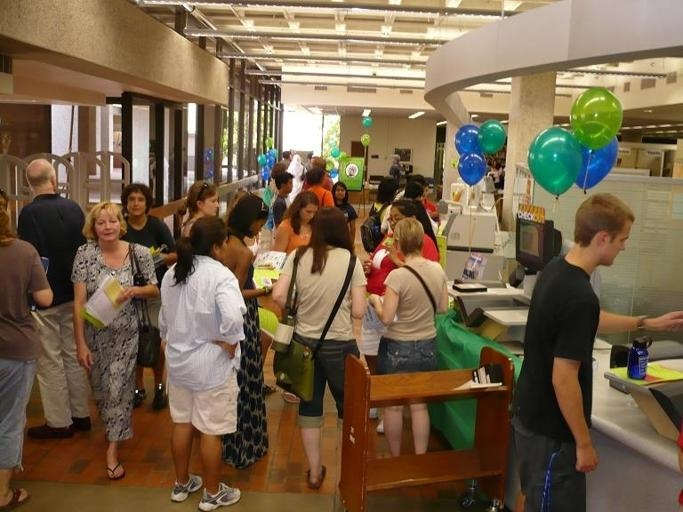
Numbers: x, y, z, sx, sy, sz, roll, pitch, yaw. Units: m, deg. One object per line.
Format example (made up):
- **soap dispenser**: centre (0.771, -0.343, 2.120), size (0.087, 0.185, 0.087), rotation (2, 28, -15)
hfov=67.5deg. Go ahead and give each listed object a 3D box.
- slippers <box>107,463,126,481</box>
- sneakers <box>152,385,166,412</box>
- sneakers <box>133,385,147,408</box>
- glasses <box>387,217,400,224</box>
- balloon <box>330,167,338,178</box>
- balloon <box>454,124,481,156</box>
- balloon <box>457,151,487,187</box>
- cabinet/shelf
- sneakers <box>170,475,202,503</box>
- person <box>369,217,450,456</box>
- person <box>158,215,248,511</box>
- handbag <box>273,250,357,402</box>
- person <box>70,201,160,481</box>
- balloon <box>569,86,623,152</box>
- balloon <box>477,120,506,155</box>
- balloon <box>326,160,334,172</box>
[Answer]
- **slippers**: centre (-1.593, 1.503, 3.579), size (0.116, 0.077, 0.122), rotation (-5, 14, -27)
- **sneakers**: centre (-1.603, 1.247, 4.434), size (0.086, 0.114, 0.250), rotation (0, 3, -7)
- **sneakers**: centre (-1.802, 1.236, 4.593), size (0.104, 0.127, 0.305), rotation (3, 7, -7)
- **glasses**: centre (0.437, -0.297, 4.266), size (0.066, 0.068, 0.048), rotation (-30, 22, -33)
- **balloon**: centre (-0.283, -2.785, 17.011), size (0.220, 0.333, 0.241), rotation (4, -36, -12)
- **balloon**: centre (1.742, -1.607, 7.242), size (0.399, 0.523, 0.422), rotation (-1, -6, -7)
- **balloon**: centre (1.767, -1.171, 6.936), size (0.413, 0.568, 0.429), rotation (2, 0, 36)
- **cabinet/shelf**: centre (0.559, 1.115, 3.293), size (0.949, 1.023, 0.455), rotation (-1, 2, -14)
- **sneakers**: centre (-1.032, 1.523, 3.420), size (0.088, 0.113, 0.251), rotation (3, 11, 20)
- **person**: centre (0.450, 0.612, 3.670), size (0.545, 1.757, 0.504), rotation (1, 4, -19)
- **person**: centre (-0.865, 0.693, 3.162), size (0.558, 1.855, 0.321), rotation (1, 11, -2)
- **handbag**: centre (-0.187, 0.436, 3.237), size (0.508, 0.939, 0.206), rotation (0, 11, -3)
- **person**: centre (-1.596, 0.568, 3.632), size (0.541, 1.888, 0.456), rotation (-10, 15, -43)
- **balloon**: centre (2.081, -1.118, 4.159), size (0.396, 0.492, 0.318), rotation (3, 12, 10)
- **balloon**: centre (2.017, -1.609, 6.895), size (0.348, 0.429, 0.534), rotation (4, 13, 14)
- **balloon**: centre (-0.419, -3.064, 17.339), size (0.303, 0.381, 0.104), rotation (2, -6, -44)
